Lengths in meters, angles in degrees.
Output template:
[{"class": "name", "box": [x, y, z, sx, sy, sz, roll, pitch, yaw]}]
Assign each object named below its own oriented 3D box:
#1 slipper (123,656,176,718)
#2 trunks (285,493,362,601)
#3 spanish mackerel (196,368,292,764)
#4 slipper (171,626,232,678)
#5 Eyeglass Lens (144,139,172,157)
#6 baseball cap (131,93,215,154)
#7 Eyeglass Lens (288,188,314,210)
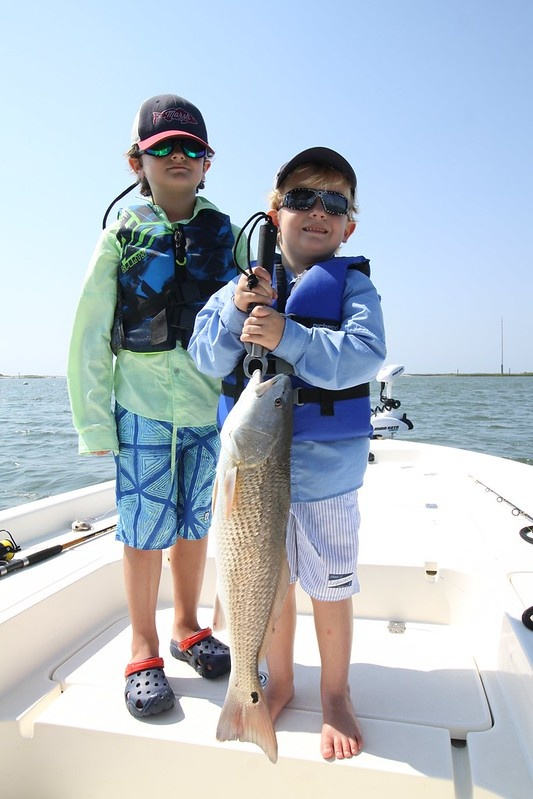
[{"class": "slipper", "box": [-0.360, 0.887, 1.952, 0.144, 0.084, 0.246, -2, 4, -14]}, {"class": "trunks", "box": [0.174, 0.435, 1.897, 0.216, 0.315, 0.137, -1, 4, 4]}, {"class": "spanish mackerel", "box": [-0.037, 0.399, 1.615, 0.205, 0.939, 0.250, -1, 4, 5]}, {"class": "slipper", "box": [-0.222, 0.878, 2.205, 0.112, 0.085, 0.205, 18, -11, -41]}, {"class": "Eyeglass Lens", "box": [-0.373, -0.879, 2.236, 0.063, 0.017, 0.060, -14, 13, 25]}, {"class": "baseball cap", "box": [-0.340, -1.011, 2.343, 0.315, 0.201, 0.400, 1, 13, 3]}, {"class": "Eyeglass Lens", "box": [0.112, -0.620, 2.007, 0.073, 0.073, 0.032, 0, 51, 3]}]
